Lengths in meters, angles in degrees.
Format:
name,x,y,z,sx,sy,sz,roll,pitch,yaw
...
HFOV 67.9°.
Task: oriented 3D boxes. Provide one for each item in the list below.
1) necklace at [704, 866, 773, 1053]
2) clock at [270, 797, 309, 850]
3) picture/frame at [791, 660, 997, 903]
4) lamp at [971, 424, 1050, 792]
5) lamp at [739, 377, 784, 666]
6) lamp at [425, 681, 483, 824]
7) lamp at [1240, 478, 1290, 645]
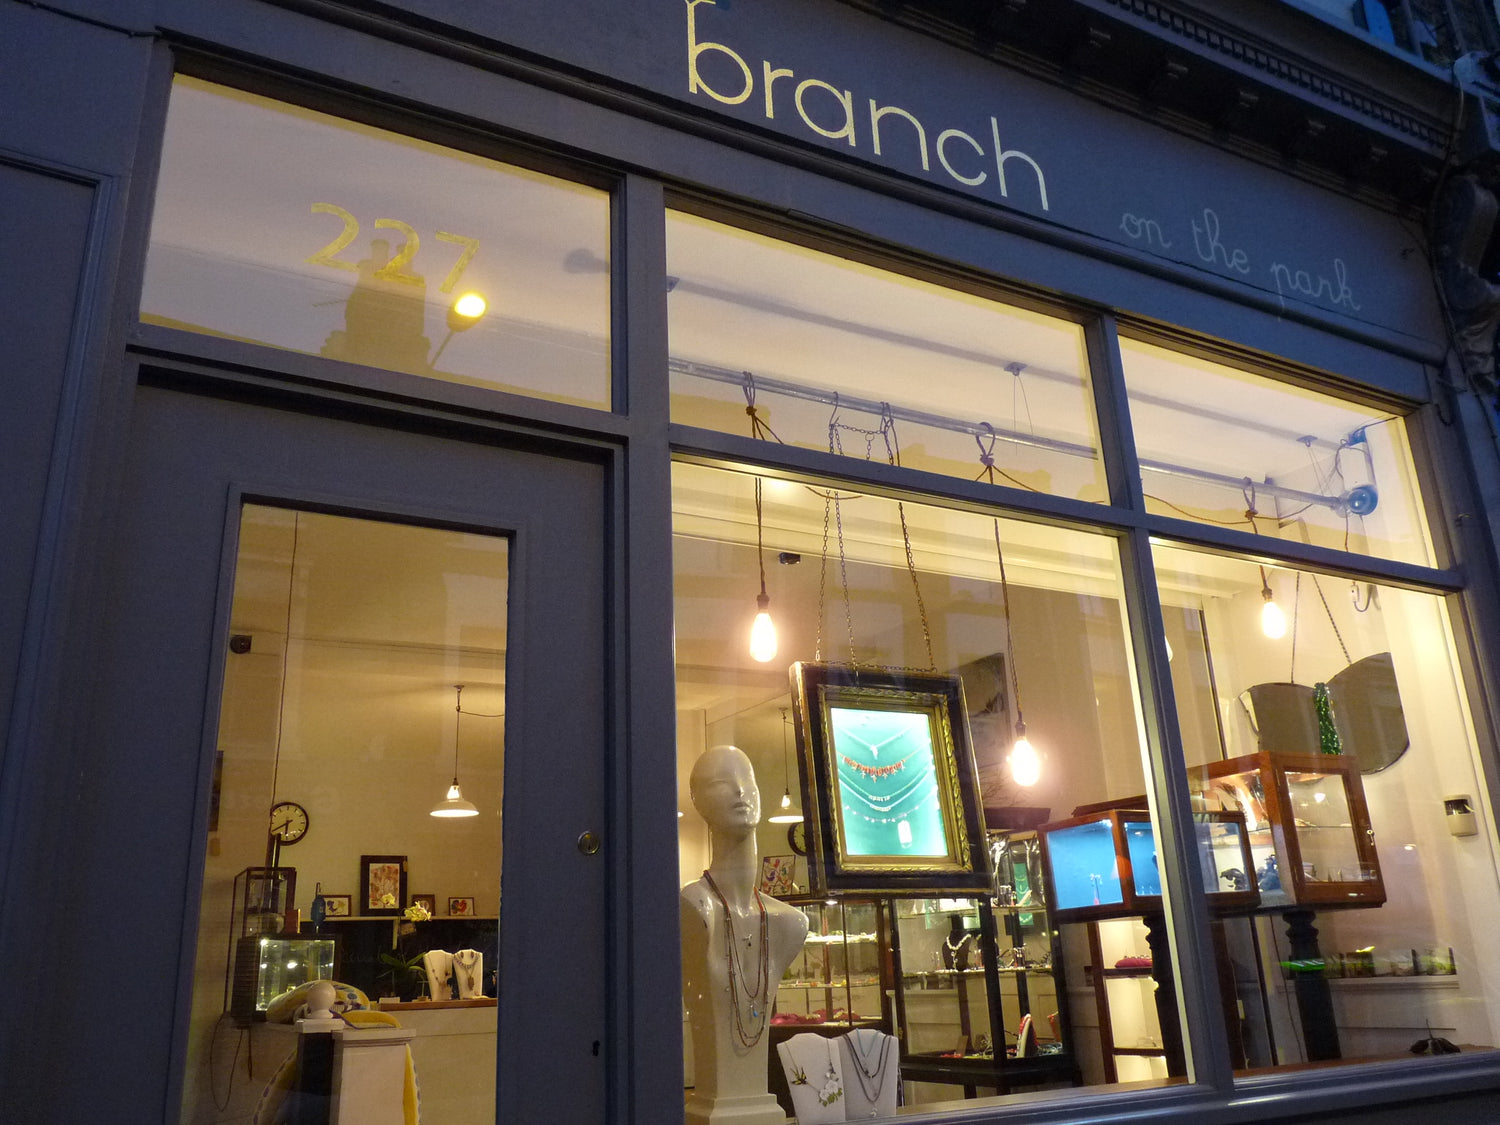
name,x,y,z,sx,sy,sz,roll,pitch,yaw
necklace,-0.029,0.882,2.485,0.160,0.368,0.048,14,-23,-39
clock,-0.899,0.506,2.152,0.095,0.096,0.016,-3,-31,-37
picture/frame,0.350,0.580,2.868,0.570,0.583,0.058,9,-26,-26
lamp,0.738,0.111,3.201,0.098,1.052,0.219,-8,-19,20
lamp,0.034,-0.121,2.874,0.054,0.771,0.143,-11,-20,29
lamp,-0.619,0.394,2.320,0.042,0.285,0.112,-12,-20,30
lamp,1.688,-0.015,3.672,0.199,0.535,0.051,13,-22,-38
